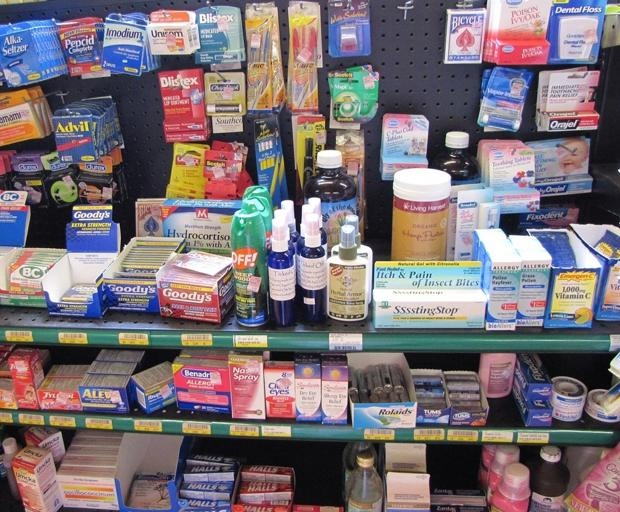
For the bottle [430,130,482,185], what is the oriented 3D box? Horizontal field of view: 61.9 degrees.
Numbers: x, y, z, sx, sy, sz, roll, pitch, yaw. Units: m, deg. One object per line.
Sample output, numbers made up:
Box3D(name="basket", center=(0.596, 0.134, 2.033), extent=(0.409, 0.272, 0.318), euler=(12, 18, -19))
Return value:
Box3D(name="bottle", center=(0.605, -0.416, 2.141), extent=(0.187, 0.193, 0.272), euler=(2, 28, 13))
